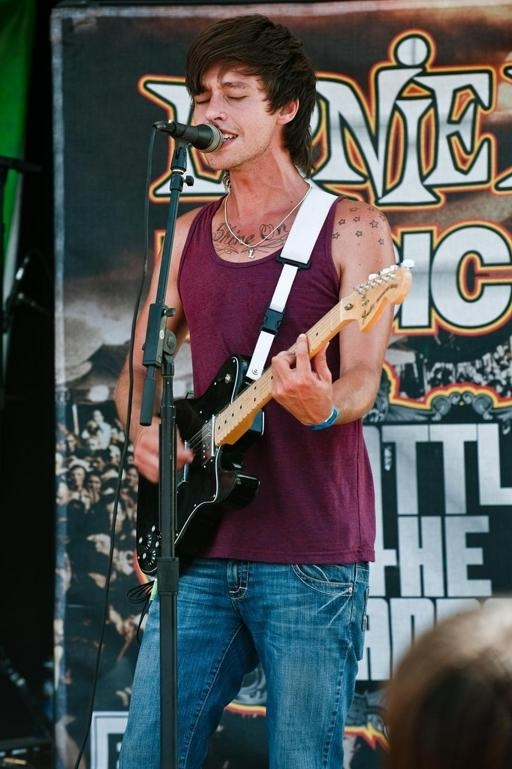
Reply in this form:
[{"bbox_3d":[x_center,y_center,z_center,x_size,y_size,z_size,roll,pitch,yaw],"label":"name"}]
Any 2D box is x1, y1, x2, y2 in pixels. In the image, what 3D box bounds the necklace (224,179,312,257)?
[{"bbox_3d":[-0.019,-0.367,2.255,0.185,0.202,0.213,8,15,39],"label":"necklace"}]
